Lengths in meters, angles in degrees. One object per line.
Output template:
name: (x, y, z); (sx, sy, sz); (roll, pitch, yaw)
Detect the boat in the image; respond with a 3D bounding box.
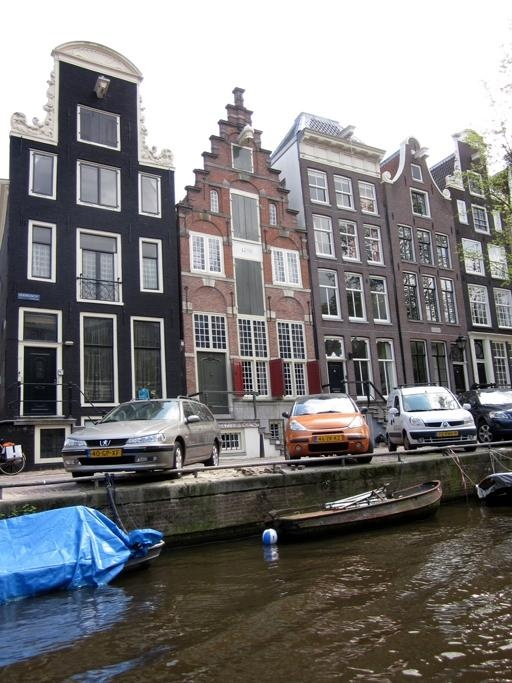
boat: (1.642, 2.784, 9.094); (3.138, 0.568, 0.905); (-1, -10, -33)

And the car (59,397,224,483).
car: (-1.685, 1.593, 9.474); (1.399, 0.815, 2.505); (-7, -13, 13)

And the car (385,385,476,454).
car: (4.193, 1.881, 13.640); (1.795, 1.735, 2.404); (-6, -8, -3)

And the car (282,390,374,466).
car: (1.542, 1.913, 12.775); (1.788, 1.457, 3.354); (-4, -12, 6)
